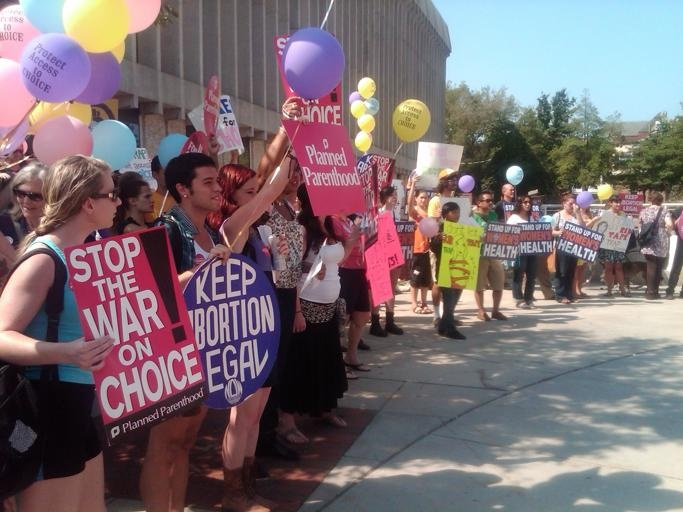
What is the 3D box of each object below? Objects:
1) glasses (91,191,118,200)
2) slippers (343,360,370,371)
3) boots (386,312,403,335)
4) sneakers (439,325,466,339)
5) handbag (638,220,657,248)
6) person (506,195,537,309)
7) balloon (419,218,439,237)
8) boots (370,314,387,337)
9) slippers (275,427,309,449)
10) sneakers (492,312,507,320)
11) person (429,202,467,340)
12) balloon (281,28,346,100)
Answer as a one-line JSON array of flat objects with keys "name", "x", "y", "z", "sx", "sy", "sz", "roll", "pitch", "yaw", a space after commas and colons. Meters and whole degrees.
[{"name": "glasses", "x": -1.216, "y": -0.307, "z": 3.104, "sx": 0.087, "sy": 0.035, "sz": 0.080, "roll": -3, "pitch": 9, "yaw": -25}, {"name": "slippers", "x": 0.179, "y": 1.312, "z": 7.178, "sx": 0.278, "sy": 0.089, "sz": 0.119, "roll": 2, "pitch": 2, "yaw": 5}, {"name": "boots", "x": 0.738, "y": 1.022, "z": 9.058, "sx": 0.348, "sy": 0.399, "sz": 0.184, "roll": 0, "pitch": 6, "yaw": -3}, {"name": "sneakers", "x": 1.585, "y": 1.117, "z": 8.850, "sx": 0.392, "sy": 0.188, "sz": 0.149, "roll": 2, "pitch": 3, "yaw": 37}, {"name": "handbag", "x": 6.463, "y": -0.453, "z": 12.905, "sx": 0.383, "sy": 0.571, "sz": 0.291, "roll": 7, "pitch": -17, "yaw": 28}, {"name": "person", "x": 3.490, "y": -0.095, "z": 11.810, "sx": 0.530, "sy": 1.448, "sz": 0.975, "roll": 2, "pitch": 2, "yaw": 16}, {"name": "balloon", "x": 1.238, "y": -0.365, "z": 8.530, "sx": 0.228, "sy": 0.262, "sz": 0.301, "roll": 7, "pitch": -32, "yaw": 29}, {"name": "boots", "x": 0.586, "y": 1.045, "z": 8.956, "sx": 0.336, "sy": 0.380, "sz": 0.169, "roll": 1, "pitch": 2, "yaw": 30}, {"name": "slippers", "x": -0.456, "y": 1.579, "z": 5.346, "sx": 0.331, "sy": 0.174, "sz": 0.108, "roll": 0, "pitch": 10, "yaw": 37}, {"name": "sneakers", "x": 2.603, "y": 1.004, "z": 10.219, "sx": 0.104, "sy": 0.144, "sz": 0.296, "roll": -3, "pitch": 1, "yaw": -31}, {"name": "person", "x": 1.574, "y": 0.189, "z": 9.102, "sx": 0.540, "sy": 1.993, "sz": 0.819, "roll": 2, "pitch": 2, "yaw": 8}, {"name": "balloon", "x": -0.198, "y": -1.326, "z": 4.067, "sx": 0.386, "sy": 0.561, "sz": 0.438, "roll": -1, "pitch": 29, "yaw": -6}]
